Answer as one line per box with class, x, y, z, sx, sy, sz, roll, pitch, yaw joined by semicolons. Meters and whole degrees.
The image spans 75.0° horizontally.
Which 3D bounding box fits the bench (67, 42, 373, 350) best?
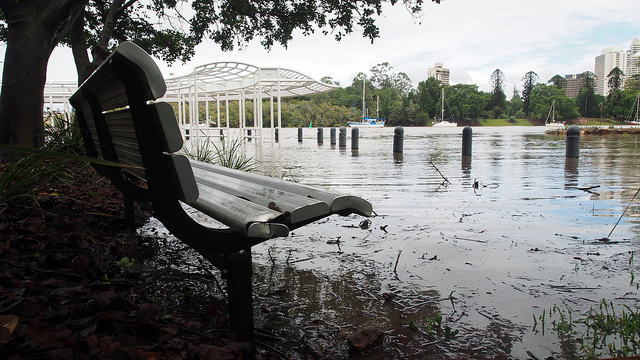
bench;-1.557;-0.103;4.796;2.150;1.945;4.476;-3;8;-35
